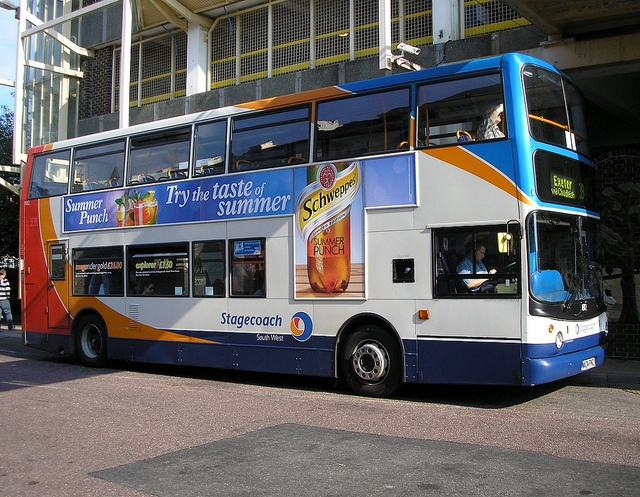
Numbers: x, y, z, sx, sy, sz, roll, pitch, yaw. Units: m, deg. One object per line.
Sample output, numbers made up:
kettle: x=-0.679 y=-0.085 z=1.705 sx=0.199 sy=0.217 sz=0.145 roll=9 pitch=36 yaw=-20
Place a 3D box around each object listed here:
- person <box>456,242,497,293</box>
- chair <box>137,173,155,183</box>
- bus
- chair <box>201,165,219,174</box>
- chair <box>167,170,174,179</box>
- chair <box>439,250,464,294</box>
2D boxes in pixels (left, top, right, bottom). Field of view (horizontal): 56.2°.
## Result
person: x=2.419 y=0.294 z=9.059 sx=0.688 sy=0.888 sz=0.664 roll=-2 pitch=8 yaw=-3
chair: x=-3.706 y=-1.507 z=12.802 sx=0.277 sy=0.235 sz=0.102 roll=-5 pitch=2 yaw=25
bus: x=-0.546 y=-0.134 z=13.440 sx=13.220 sy=6.198 sz=5.066 roll=-3 pitch=-4 yaw=36
chair: x=-2.163 y=-1.529 z=11.771 sx=0.206 sy=0.126 sz=0.256 roll=5 pitch=-3 yaw=-44
chair: x=-3.060 y=-1.548 z=12.382 sx=0.106 sy=0.180 sz=0.158 roll=-1 pitch=-4 yaw=-8
chair: x=1.955 y=0.363 z=9.468 sx=0.514 sy=0.661 sz=0.404 roll=1 pitch=-1 yaw=4
